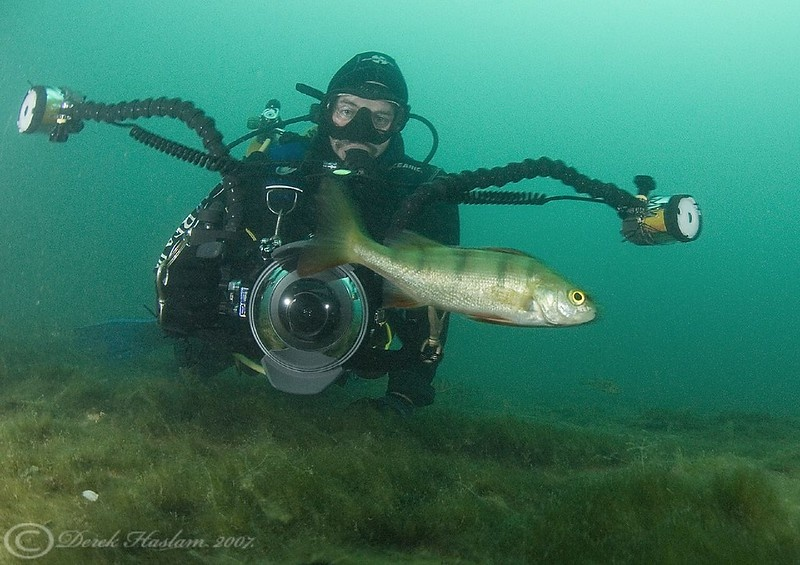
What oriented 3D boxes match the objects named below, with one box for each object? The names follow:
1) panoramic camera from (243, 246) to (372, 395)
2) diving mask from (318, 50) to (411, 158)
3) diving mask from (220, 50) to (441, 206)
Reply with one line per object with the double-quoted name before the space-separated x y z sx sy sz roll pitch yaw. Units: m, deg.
"panoramic camera" -0.695 0.309 5.061 0.912 1.106 0.352 10 1 3
"diving mask" -0.336 -1.705 6.530 1.071 1.281 0.758 1 13 2
"diving mask" -0.652 -1.591 6.964 2.019 2.017 1.525 5 13 3
